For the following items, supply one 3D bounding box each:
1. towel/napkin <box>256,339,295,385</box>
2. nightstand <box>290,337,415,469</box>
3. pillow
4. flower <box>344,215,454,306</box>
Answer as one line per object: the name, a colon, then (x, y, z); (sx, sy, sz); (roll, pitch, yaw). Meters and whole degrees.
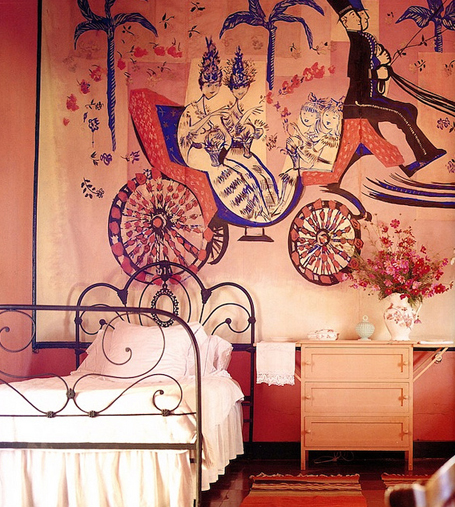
towel/napkin: (0.295, 0.656, 4.403); (0.271, 0.240, 0.062); (-2, -4, 14)
nightstand: (0.767, 0.895, 4.324); (0.859, 0.839, 0.481); (0, -7, 2)
pillow: (-0.451, 0.566, 4.269); (0.588, 0.144, 0.443); (1, 11, 4)
flower: (1.126, 0.041, 4.601); (0.674, 0.540, 0.434); (6, 1, 8)
